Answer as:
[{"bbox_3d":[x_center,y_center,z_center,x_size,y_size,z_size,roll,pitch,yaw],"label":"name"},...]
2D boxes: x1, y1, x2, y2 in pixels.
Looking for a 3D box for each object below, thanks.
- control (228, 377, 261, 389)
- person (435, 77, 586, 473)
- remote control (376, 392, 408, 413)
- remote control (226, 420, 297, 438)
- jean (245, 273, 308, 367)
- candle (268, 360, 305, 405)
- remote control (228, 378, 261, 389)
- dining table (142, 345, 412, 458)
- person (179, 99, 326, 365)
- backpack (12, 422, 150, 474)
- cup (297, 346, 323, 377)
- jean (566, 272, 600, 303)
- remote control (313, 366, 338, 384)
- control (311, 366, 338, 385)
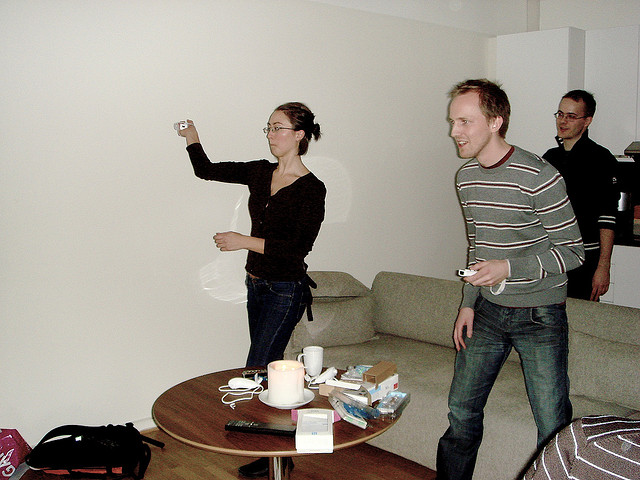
[{"bbox_3d":[-0.309,0.569,2.082,0.085,0.018,0.053,3,4,-10],"label":"control"},{"bbox_3d":[0.719,0.240,2.122,0.620,1.753,0.417,0,12,29],"label":"person"},{"bbox_3d":[0.272,0.603,1.967,0.051,0.022,0.094,6,17,25],"label":"remote control"},{"bbox_3d":[-0.193,0.642,1.788,0.255,0.024,0.079,4,9,8],"label":"remote control"},{"bbox_3d":[-0.213,0.379,2.562,0.324,0.415,0.240,-5,10,5],"label":"jean"},{"bbox_3d":[-0.127,0.543,1.987,0.167,0.130,0.167,1,1,23],"label":"candle"},{"bbox_3d":[-0.307,0.570,2.080,0.086,0.018,0.052,1,2,-13],"label":"remote control"},{"bbox_3d":[-0.141,0.589,1.987,0.958,0.270,0.651,-7,10,-6],"label":"dining table"},{"bbox_3d":[-0.263,-0.054,2.639,0.609,1.219,0.518,-7,10,-2],"label":"person"},{"bbox_3d":[-1.135,1.015,2.588,0.484,0.166,0.277,2,3,-1],"label":"backpack"},{"bbox_3d":[-0.040,0.516,2.190,0.108,0.098,0.070,1,-7,-9],"label":"cup"},{"bbox_3d":[1.651,0.289,3.335,0.245,0.226,0.059,1,3,44],"label":"jean"},{"bbox_3d":[0.031,0.548,2.131,0.112,0.043,0.043,-20,54,-18],"label":"remote control"},{"bbox_3d":[0.039,0.551,2.167,0.135,0.042,0.054,-23,-24,-7],"label":"control"}]
